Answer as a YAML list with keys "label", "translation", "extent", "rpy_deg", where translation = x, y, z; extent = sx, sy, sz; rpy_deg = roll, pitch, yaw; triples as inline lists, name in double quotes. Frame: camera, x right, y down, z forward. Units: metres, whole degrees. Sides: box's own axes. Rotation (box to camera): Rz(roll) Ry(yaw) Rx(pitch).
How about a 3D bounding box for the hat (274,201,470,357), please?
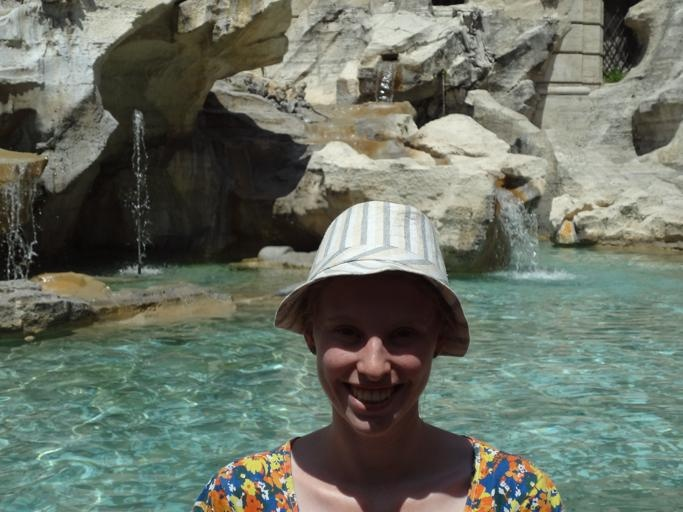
- label: "hat"
  translation: [0.229, -0.039, 4.662]
  extent: [0.801, 0.458, 0.670]
  rpy_deg: [3, -8, 35]
